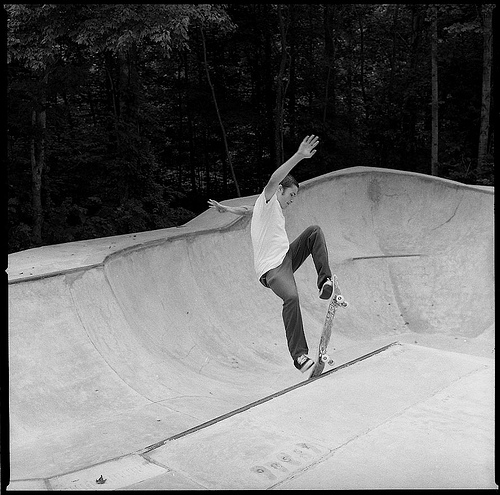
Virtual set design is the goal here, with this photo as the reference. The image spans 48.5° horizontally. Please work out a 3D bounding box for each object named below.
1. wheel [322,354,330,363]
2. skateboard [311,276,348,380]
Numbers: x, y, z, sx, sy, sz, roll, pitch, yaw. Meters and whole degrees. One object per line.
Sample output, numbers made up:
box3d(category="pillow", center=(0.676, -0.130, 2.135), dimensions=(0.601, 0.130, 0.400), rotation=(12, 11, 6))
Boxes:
box3d(category="wheel", center=(0.722, 1.075, 5.320), dimensions=(0.075, 0.079, 0.023), rotation=(-2, 10, 2))
box3d(category="skateboard", center=(1.055, 1.133, 7.479), dimensions=(0.222, 1.494, 0.310), rotation=(8, -17, 19))
